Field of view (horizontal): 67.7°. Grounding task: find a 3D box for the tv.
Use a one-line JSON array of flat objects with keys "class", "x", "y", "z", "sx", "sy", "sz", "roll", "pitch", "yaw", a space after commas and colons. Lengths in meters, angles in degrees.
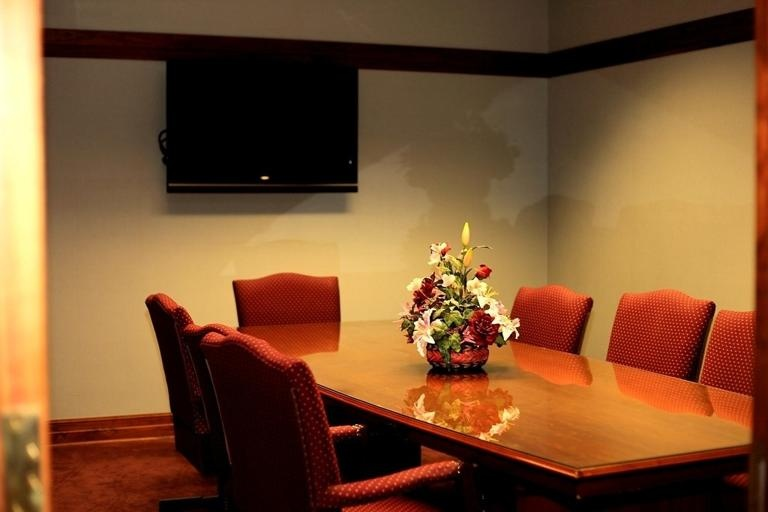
[{"class": "tv", "x": -0.994, "y": -1.086, "z": 4.375, "sx": 1.234, "sy": 0.922, "sz": 0.131, "roll": 0, "pitch": 2, "yaw": -9}]
